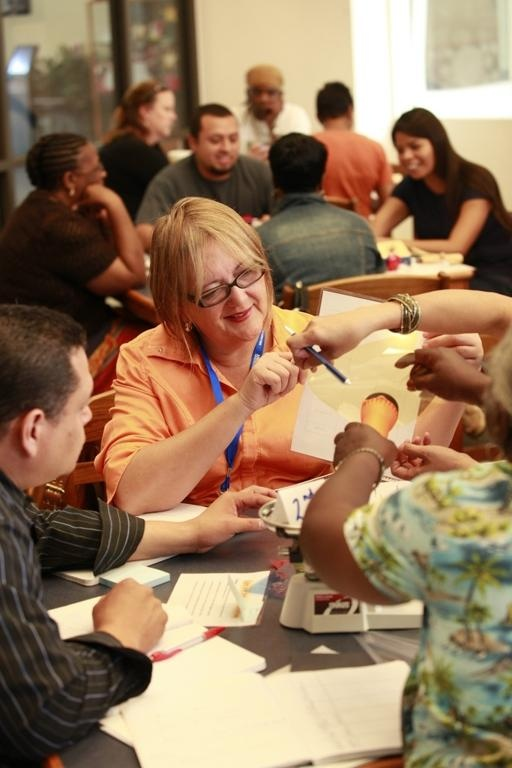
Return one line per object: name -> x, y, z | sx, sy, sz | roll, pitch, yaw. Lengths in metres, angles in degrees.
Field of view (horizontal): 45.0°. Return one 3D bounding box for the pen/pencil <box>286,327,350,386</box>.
pen/pencil -> 0.115, -0.049, 1.114 | 0.019, 0.180, 0.019 | -45, 33, 10
